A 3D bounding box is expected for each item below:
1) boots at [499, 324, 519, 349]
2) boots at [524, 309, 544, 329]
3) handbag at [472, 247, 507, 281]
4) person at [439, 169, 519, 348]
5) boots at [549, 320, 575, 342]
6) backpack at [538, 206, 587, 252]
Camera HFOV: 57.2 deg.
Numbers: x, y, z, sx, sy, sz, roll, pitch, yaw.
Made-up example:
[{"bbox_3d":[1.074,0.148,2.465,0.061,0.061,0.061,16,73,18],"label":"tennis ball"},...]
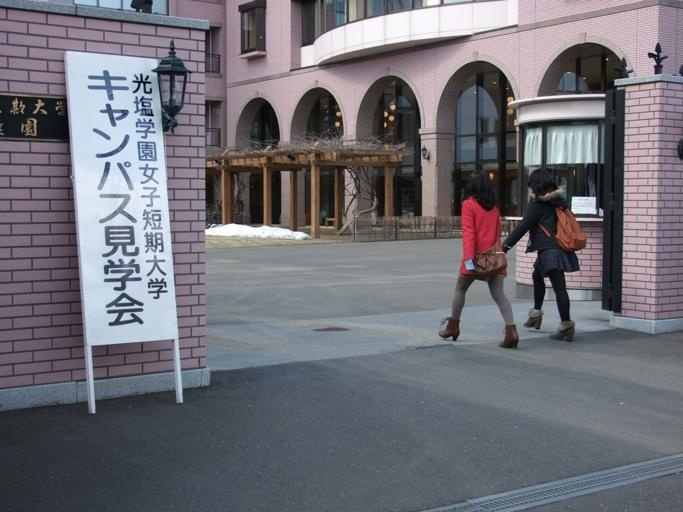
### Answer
[{"bbox_3d":[2.145,1.014,8.060,0.147,0.288,0.378,-4,6,-16],"label":"boots"},{"bbox_3d":[2.816,0.929,9.196,0.168,0.288,0.371,-3,6,-33],"label":"boots"},{"bbox_3d":[1.888,0.099,8.075,0.318,0.329,0.163,-18,1,12],"label":"handbag"},{"bbox_3d":[1.839,0.020,8.351,1.005,2.267,1.103,1,8,11],"label":"person"},{"bbox_3d":[2.990,1.009,8.496,0.171,0.283,0.380,-8,12,-38],"label":"boots"},{"bbox_3d":[3.083,-0.340,8.560,0.612,0.718,0.462,-7,-6,31],"label":"backpack"}]
